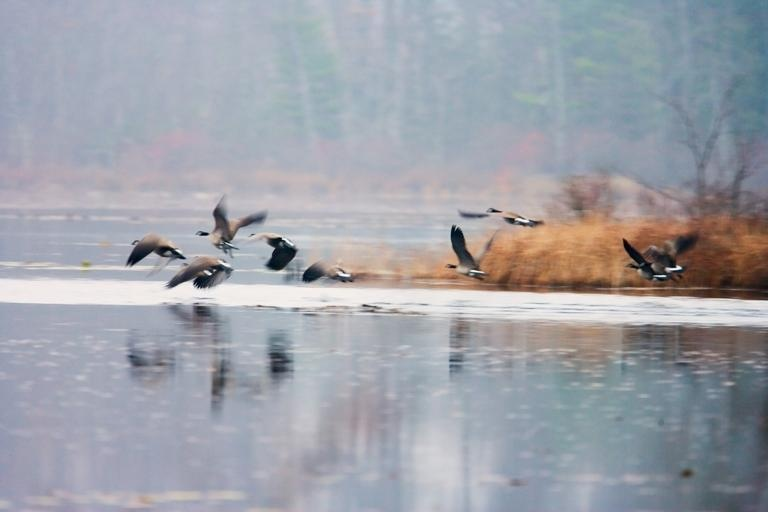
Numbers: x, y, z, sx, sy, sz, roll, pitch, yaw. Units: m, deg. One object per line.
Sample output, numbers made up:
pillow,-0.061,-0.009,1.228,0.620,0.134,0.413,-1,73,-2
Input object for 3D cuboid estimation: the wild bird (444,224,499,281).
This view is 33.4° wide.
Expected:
wild bird,2.532,0.038,33.718,1.409,0.834,1.604,-25,-15,10

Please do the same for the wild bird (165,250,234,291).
wild bird,-3.759,0.446,26.752,1.314,0.369,0.774,2,34,11

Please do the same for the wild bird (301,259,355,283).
wild bird,-1.336,0.366,29.528,0.433,0.475,1.030,10,4,23
